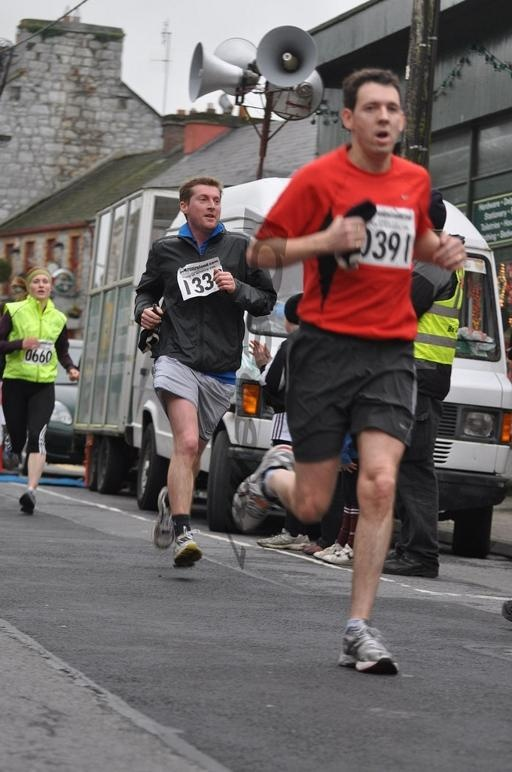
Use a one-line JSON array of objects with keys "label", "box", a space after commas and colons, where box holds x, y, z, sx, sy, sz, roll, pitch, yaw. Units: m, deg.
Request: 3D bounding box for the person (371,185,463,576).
[{"label": "person", "box": [1.180, 0.177, 5.146, 0.894, 2.970, 0.966, 2, 7, 14]}]

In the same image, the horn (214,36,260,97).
[{"label": "horn", "box": [-0.463, -5.101, 11.887, 1.059, 0.865, 0.910, -7, 20, -33]}]

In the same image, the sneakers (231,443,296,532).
[{"label": "sneakers", "box": [0.004, 0.424, 2.908, 0.260, 0.363, 0.249, -2, 2, -11]}]

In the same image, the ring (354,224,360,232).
[{"label": "ring", "box": [0.306, -0.491, 2.252, 0.012, 0.022, 0.005, 8, -5, -28]}]

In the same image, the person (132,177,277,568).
[{"label": "person", "box": [-0.376, -0.135, 4.591, 1.057, 2.474, 0.923, 1, -1, -6]}]

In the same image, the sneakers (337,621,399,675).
[{"label": "sneakers", "box": [0.353, 0.810, 2.250, 0.143, 0.139, 0.170, 7, -4, -20]}]

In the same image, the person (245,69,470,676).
[{"label": "person", "box": [0.318, -0.154, 2.455, 0.676, 1.835, 0.694, 0, 5, -15]}]
